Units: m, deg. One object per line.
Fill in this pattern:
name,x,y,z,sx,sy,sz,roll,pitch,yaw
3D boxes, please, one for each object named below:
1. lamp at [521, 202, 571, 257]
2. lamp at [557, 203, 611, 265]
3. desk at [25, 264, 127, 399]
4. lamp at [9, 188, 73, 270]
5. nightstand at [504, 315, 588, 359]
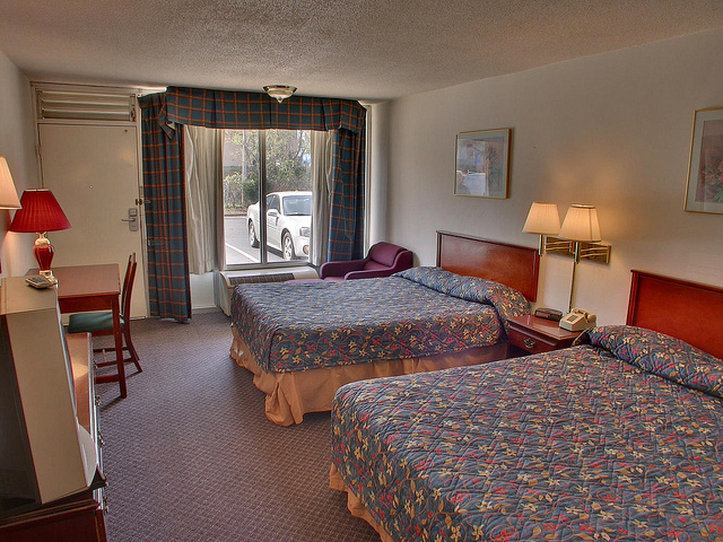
lamp,1.631,-0.417,4.499,0.402,0.640,0.455,6,13,34
lamp,1.903,-0.320,4.206,0.370,0.474,0.390,8,14,35
desk,-1.867,0.376,3.315,0.620,0.787,1.019,-5,13,-22
lamp,-2.843,-0.348,4.383,0.311,0.722,0.375,5,13,25
nightstand,1.613,0.537,4.346,0.336,0.468,0.465,-5,15,-19
